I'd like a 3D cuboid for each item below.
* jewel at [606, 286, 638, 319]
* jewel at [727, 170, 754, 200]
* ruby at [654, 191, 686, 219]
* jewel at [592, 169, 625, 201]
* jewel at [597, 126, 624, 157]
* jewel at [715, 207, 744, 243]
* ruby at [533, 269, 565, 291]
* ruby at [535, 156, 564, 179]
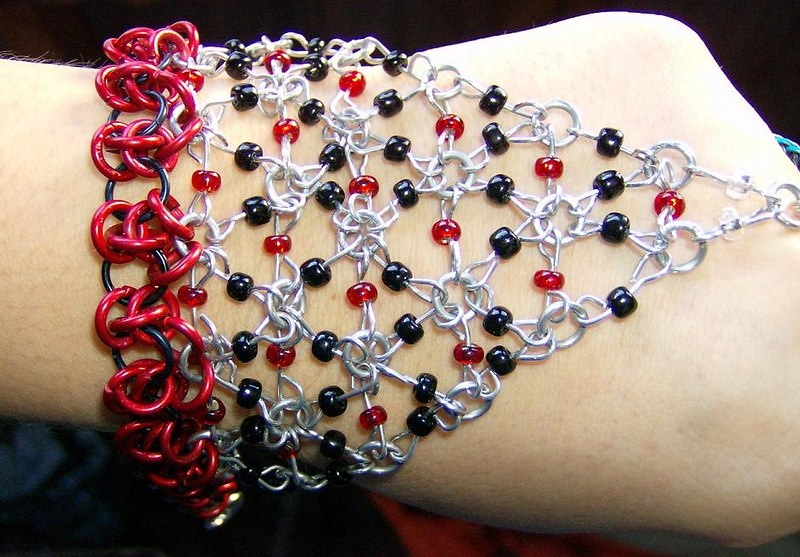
[{"bbox_3d":[0.368,0.042,1.456,0.044,0.049,0.051,-13,46,33],"label":"jewel"},{"bbox_3d":[0.576,-0.155,1.479,0.038,0.034,0.044,10,97,18],"label":"jewel"},{"bbox_3d":[0.458,-0.124,1.479,0.056,0.029,0.046,15,66,6],"label":"ruby"},{"bbox_3d":[0.355,-0.157,1.476,0.056,0.046,0.048,-14,91,-19],"label":"jewel"},{"bbox_3d":[0.357,-0.231,1.495,0.046,0.029,0.041,19,67,8],"label":"jewel"},{"bbox_3d":[0.558,-0.091,1.476,0.044,0.023,0.056,0,65,-1],"label":"jewel"},{"bbox_3d":[0.247,0.005,1.460,0.038,0.037,0.019,5,97,4],"label":"ruby"},{"bbox_3d":[0.253,-0.185,1.484,0.041,0.021,0.038,21,84,2],"label":"ruby"}]
